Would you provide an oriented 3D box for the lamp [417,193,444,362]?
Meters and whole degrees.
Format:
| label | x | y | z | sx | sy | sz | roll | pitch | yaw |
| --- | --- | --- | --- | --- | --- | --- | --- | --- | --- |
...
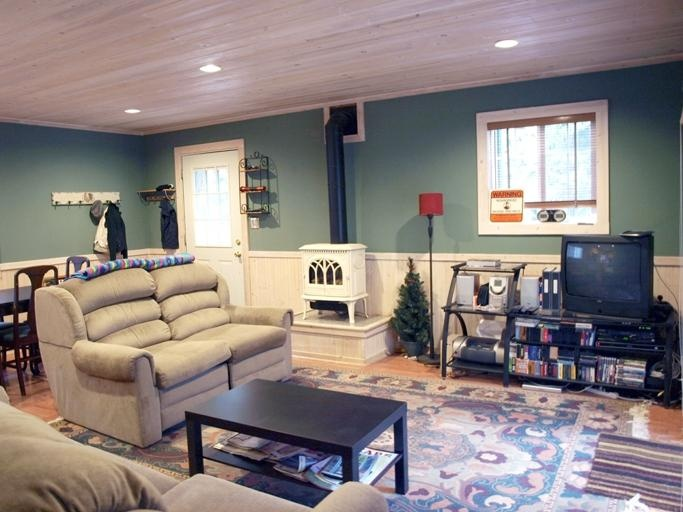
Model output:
| label | x | y | z | sx | sy | sz | roll | pitch | yaw |
| --- | --- | --- | --- | --- | --- | --- | --- | --- | --- |
| lamp | 0.906 | 0.200 | 5.327 | 0.258 | 1.660 | 0.640 | 0 | 10 | 9 |

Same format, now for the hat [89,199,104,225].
| label | x | y | z | sx | sy | sz | roll | pitch | yaw |
| --- | --- | --- | --- | --- | --- | --- | --- | --- | --- |
| hat | -3.126 | -0.555 | 6.800 | 0.088 | 0.315 | 0.195 | 5 | 12 | 33 |

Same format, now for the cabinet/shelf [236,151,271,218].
| label | x | y | z | sx | sy | sz | roll | pitch | yaw |
| --- | --- | --- | --- | --- | --- | --- | --- | --- | --- |
| cabinet/shelf | -1.080 | -0.848 | 6.414 | 0.470 | 0.808 | 0.182 | 4 | 12 | 29 |

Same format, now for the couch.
| label | x | y | z | sx | sy | sz | roll | pitch | yaw |
| --- | --- | --- | --- | --- | --- | --- | --- | --- | --- |
| couch | -1.391 | 0.719 | 4.351 | 1.270 | 1.334 | 2.134 | -1 | 2 | 30 |
